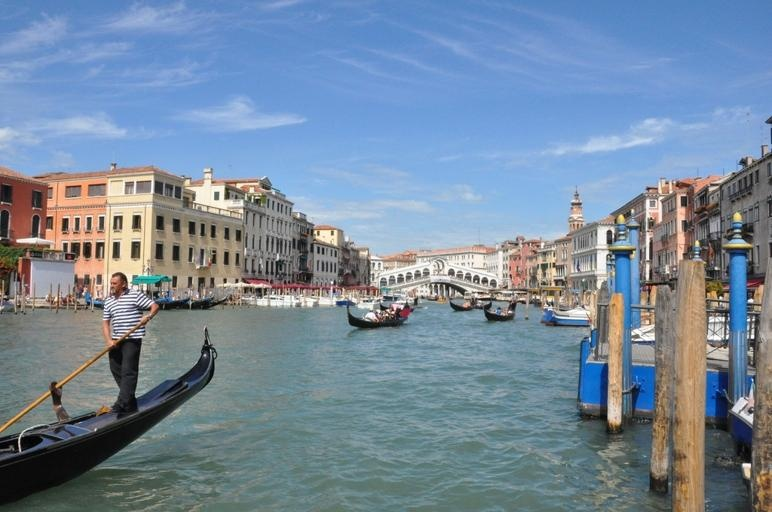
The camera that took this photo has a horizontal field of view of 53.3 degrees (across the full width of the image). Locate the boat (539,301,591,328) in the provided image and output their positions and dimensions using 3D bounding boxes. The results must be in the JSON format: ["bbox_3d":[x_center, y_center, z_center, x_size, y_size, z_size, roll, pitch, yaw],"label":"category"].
[{"bbox_3d":[12.032,4.097,51.422,3.606,1.219,2.042,-1,-1,9],"label":"boat"}]

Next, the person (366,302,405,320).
[{"bbox_3d":[0.004,3.590,48.602,0.874,0.788,3.661,1,-8,25],"label":"person"}]

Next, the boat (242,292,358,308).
[{"bbox_3d":[-8.653,4.339,75.148,10.710,1.041,1.784,3,-3,-30],"label":"boat"}]
